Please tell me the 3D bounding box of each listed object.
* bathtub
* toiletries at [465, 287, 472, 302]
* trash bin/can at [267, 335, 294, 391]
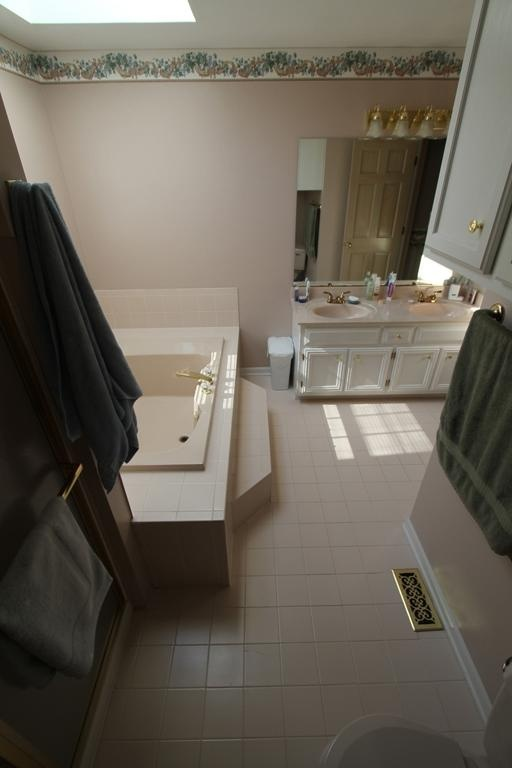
[{"bbox_3d":[-0.496,0.031,3.018,0.561,0.359,0.955,1,49,-5],"label":"bathtub"},{"bbox_3d":[1.534,-0.643,3.332,0.015,0.070,0.072,10,61,3],"label":"toiletries"},{"bbox_3d":[0.201,-0.177,3.536,0.252,0.485,0.323,0,44,1],"label":"trash bin/can"}]
